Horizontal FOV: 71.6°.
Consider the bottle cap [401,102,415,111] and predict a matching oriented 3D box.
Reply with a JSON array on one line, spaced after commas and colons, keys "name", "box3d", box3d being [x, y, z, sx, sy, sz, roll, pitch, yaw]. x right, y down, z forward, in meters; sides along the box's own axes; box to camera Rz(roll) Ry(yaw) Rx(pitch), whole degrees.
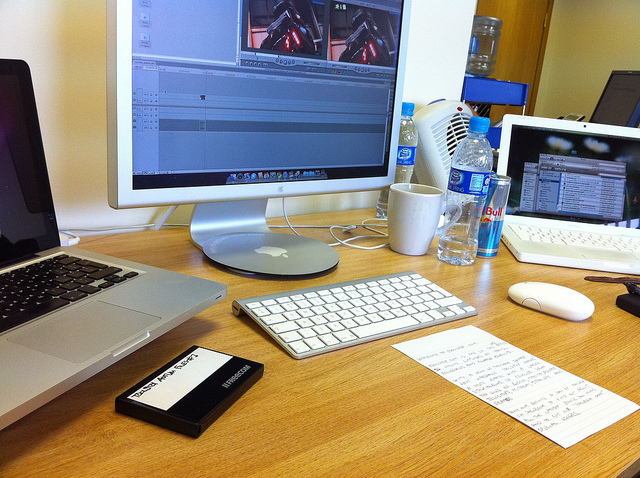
[{"name": "bottle cap", "box3d": [0.235, -0.363, 1.202, 0.037, 0.019, 0.036, -9, 27, -23]}]

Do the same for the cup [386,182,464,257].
[{"name": "cup", "box3d": [0.230, -0.050, 1.030, 0.172, 0.150, 0.157, 3, 21, -1]}]

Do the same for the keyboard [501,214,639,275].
[{"name": "keyboard", "box3d": [0.644, 0.008, 1.080, 0.378, 0.069, 0.206, 3, 21, 1]}]

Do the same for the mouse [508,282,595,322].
[{"name": "mouse", "box3d": [0.406, 0.107, 0.786, 0.120, 0.035, 0.067, 20, 23, 36]}]

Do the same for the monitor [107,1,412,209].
[{"name": "monitor", "box3d": [-0.116, -0.251, 0.793, 0.406, 0.359, 0.092, -9, 23, -36]}]

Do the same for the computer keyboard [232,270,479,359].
[{"name": "computer keyboard", "box3d": [0.070, 0.119, 0.750, 0.366, 0.037, 0.187, -7, 19, -32]}]

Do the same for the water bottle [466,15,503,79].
[{"name": "water bottle", "box3d": [0.891, -1.096, 2.518, 0.206, 0.324, 0.200, 4, 20, -1]}]
